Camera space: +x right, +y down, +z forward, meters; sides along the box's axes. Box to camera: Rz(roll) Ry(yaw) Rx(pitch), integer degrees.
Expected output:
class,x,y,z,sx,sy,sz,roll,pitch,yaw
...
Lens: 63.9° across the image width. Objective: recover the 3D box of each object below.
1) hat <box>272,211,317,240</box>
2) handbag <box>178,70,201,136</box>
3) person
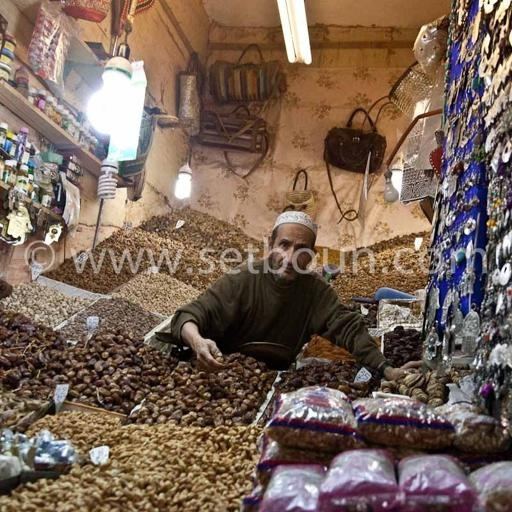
class,x,y,z,sx,sy,sz,roll,pitch,yaw
hat,0.319,-0.253,3.203,0.247,0.231,0.099,8,-38,1
handbag,-1.293,-3.067,7.894,0.485,1.068,0.414,6,10,22
person,0.247,0.257,2.966,1.592,1.023,1.173,8,-7,-8
